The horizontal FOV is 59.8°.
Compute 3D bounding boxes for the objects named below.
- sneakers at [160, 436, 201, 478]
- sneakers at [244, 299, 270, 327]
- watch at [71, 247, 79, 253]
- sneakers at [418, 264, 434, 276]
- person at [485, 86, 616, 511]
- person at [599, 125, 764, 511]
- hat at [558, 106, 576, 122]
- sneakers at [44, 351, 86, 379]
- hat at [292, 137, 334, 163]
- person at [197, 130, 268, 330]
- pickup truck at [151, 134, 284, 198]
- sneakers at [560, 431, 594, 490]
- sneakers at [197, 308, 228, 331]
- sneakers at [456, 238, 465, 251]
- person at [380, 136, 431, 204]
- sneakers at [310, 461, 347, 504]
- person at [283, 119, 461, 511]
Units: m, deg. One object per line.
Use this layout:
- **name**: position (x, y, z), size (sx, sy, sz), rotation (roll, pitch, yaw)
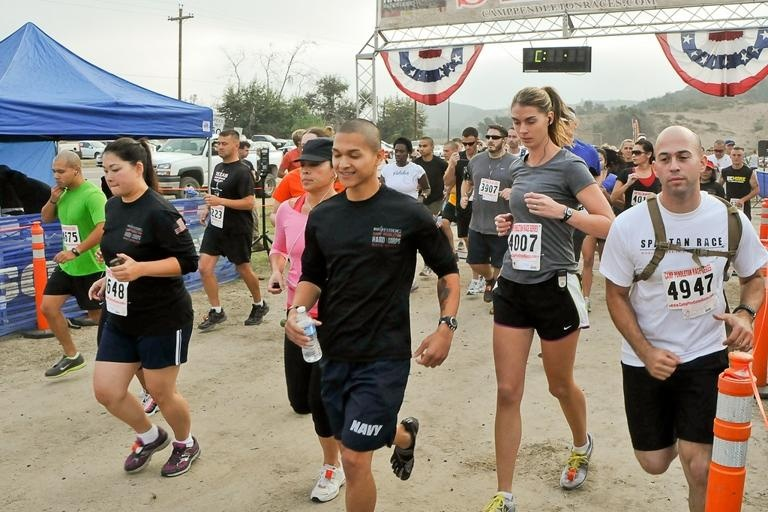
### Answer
- **sneakers**: position (-1.694, 1.669, 5.625), size (0.172, 0.197, 0.427), rotation (0, 13, 15)
- **sneakers**: position (-1.742, 0.770, 9.202), size (0.177, 0.214, 0.460), rotation (4, 26, 17)
- **watch**: position (-3.175, -0.064, 6.840), size (0.046, 0.043, 0.029), rotation (33, 65, 14)
- **sneakers**: position (0.750, 0.275, 11.746), size (0.147, 0.181, 0.418), rotation (-4, -9, 11)
- **person**: position (1.254, 0.306, 5.057), size (0.854, 3.075, 1.278), rotation (3, 16, 14)
- **person**: position (1.937, 0.346, 4.343), size (0.733, 2.319, 0.813), rotation (-14, 20, -40)
- **hat**: position (1.482, -1.153, 5.368), size (0.163, 0.067, 0.201), rotation (-1, -5, 2)
- **sneakers**: position (-3.486, 1.192, 7.394), size (0.187, 0.196, 0.492), rotation (0, 11, 44)
- **hat**: position (-0.512, -0.798, 5.028), size (0.183, 0.114, 0.247), rotation (4, 6, 44)
- **person**: position (-2.082, -0.349, 8.918), size (0.849, 2.617, 0.877), rotation (-2, 15, -4)
- **pickup truck**: position (-4.246, -2.761, 20.532), size (4.621, 1.858, 2.101), rotation (4, 16, 28)
- **sneakers**: position (1.571, 1.653, 5.381), size (0.181, 0.166, 0.520), rotation (8, 30, 30)
- **sneakers**: position (-2.274, 0.838, 8.881), size (0.176, 0.213, 0.463), rotation (0, 12, 36)
- **sneakers**: position (1.637, -0.225, 14.150), size (0.173, 0.183, 0.489), rotation (-1, -3, 12)
- **person**: position (0.292, -1.363, 10.826), size (0.885, 1.059, 0.564), rotation (0, 2, 10)
- **sneakers**: position (-0.438, 1.783, 5.309), size (0.209, 0.208, 0.477), rotation (-3, -3, 14)
- **person**: position (-0.012, 0.337, 4.526), size (0.999, 2.454, 0.865), rotation (-10, 18, -29)
